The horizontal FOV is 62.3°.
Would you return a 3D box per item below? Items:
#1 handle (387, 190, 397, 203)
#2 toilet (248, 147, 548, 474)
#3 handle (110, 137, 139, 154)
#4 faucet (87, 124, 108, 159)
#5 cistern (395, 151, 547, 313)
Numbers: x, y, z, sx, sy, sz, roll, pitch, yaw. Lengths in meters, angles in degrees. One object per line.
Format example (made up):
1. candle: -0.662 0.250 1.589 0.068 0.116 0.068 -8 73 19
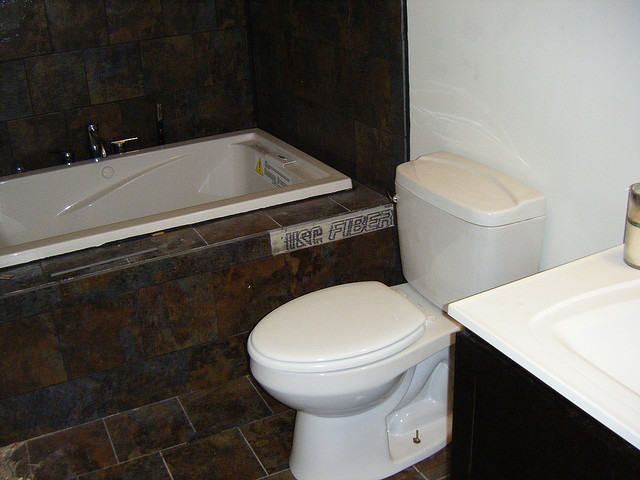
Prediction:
1. handle: 0.279 -0.158 2.027 0.037 0.015 0.027 17 46 33
2. toilet: 0.235 0.245 1.668 0.900 1.052 0.592 -13 28 -24
3. handle: -1.008 -0.478 2.728 0.083 0.084 0.084 -17 34 -32
4. faucet: -1.111 -0.471 2.620 0.078 0.166 0.043 9 24 11
5. cistern: 0.480 -0.002 1.845 0.264 0.489 0.518 -14 27 -22
